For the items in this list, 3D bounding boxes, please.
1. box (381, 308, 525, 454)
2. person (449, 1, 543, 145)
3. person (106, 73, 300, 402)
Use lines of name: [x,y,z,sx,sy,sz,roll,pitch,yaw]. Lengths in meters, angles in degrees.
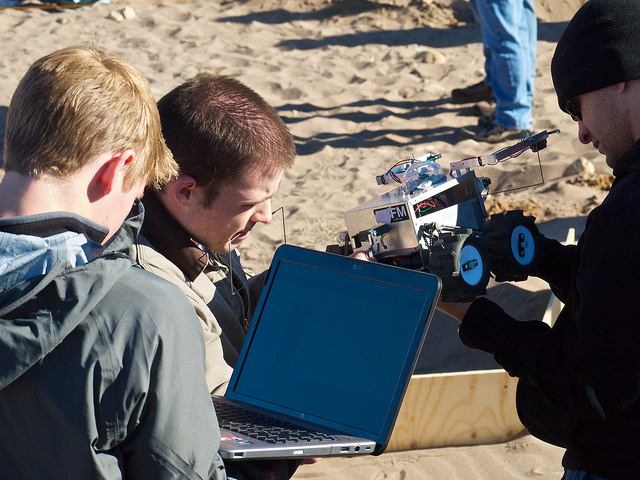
box: [0.625,0.721,4.083,0.604,0.667,0.385,-6,-35,44]
person: [1.523,-1.409,7.455,0.703,0.859,2.214,-2,-20,8]
person: [-0.407,0.012,2.904,0.596,1.061,0.773,8,40,-18]
